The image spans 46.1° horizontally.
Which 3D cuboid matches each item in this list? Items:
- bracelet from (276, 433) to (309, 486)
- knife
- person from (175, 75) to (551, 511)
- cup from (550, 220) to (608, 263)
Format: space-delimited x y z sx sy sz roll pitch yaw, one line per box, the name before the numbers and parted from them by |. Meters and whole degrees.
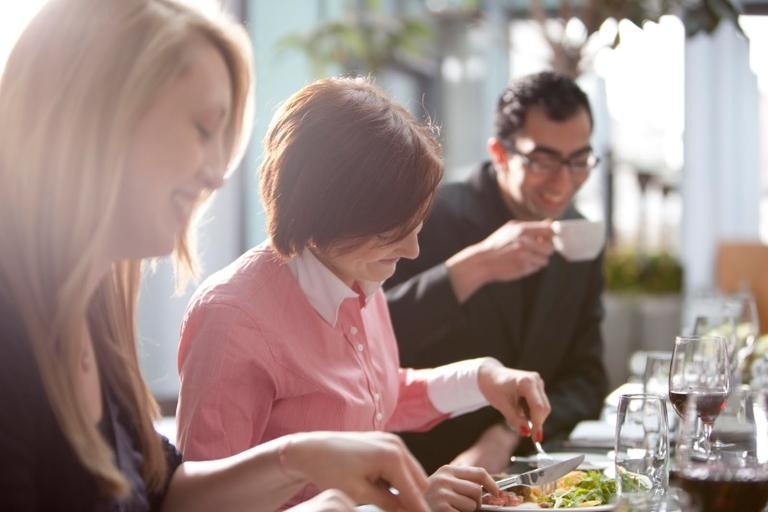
bracelet | -0.161 0.340 1.524 0.068 0.055 0.070 14 0 4
knife | 0.294 0.434 1.802 0.241 0.055 0.049 -3 3 -28
person | -0.038 0.085 2.283 0.754 1.330 0.875 -2 7 20
cup | 0.464 -0.039 2.151 0.124 0.081 0.133 -4 -11 -1
